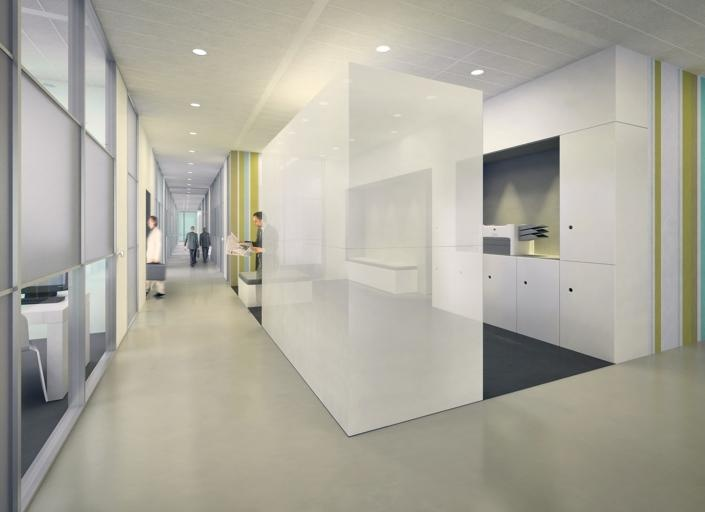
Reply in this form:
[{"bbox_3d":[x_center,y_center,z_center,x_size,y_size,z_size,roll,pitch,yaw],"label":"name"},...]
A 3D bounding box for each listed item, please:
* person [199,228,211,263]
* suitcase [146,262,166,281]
[{"bbox_3d":[-5.577,-0.395,18.031,0.355,1.393,2.069,-2,6,-16],"label":"person"},{"bbox_3d":[-4.047,0.321,9.861,0.540,0.382,0.300,2,6,3],"label":"suitcase"}]
